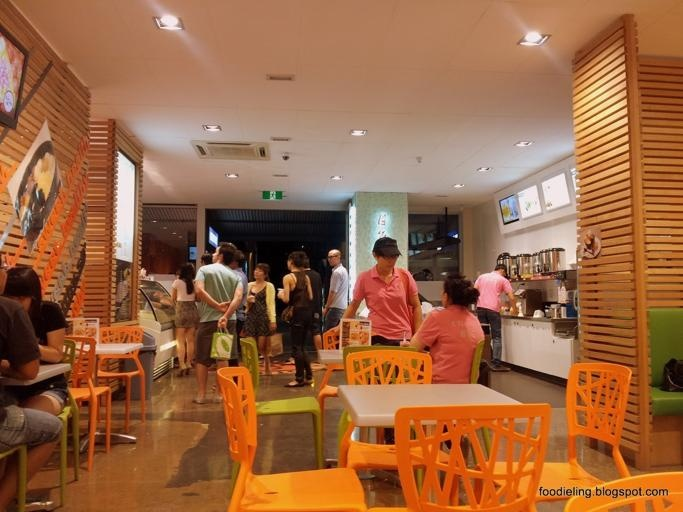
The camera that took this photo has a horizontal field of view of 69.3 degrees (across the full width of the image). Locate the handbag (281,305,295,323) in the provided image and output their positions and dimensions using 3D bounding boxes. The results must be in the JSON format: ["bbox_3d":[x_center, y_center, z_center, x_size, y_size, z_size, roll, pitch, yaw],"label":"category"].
[{"bbox_3d":[-0.769,0.846,7.174,0.153,0.229,0.340,1,-1,-6],"label":"handbag"}]

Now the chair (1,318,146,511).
[{"bbox_3d":[-2.317,1.336,4.620,1.269,1.752,1.255,-1,-4,5],"label":"chair"}]

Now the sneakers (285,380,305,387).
[{"bbox_3d":[-0.669,1.842,7.103,0.272,0.109,0.100,2,-8,3],"label":"sneakers"}]

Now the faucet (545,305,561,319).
[{"bbox_3d":[3.485,0.908,8.029,0.316,0.307,0.193,1,-3,17],"label":"faucet"}]

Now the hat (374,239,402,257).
[{"bbox_3d":[0.408,-0.078,4.538,0.223,0.192,0.230,0,-1,3],"label":"hat"}]

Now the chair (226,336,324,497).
[{"bbox_3d":[-0.478,1.133,4.354,1.066,1.579,0.870,-1,-3,-5],"label":"chair"}]
